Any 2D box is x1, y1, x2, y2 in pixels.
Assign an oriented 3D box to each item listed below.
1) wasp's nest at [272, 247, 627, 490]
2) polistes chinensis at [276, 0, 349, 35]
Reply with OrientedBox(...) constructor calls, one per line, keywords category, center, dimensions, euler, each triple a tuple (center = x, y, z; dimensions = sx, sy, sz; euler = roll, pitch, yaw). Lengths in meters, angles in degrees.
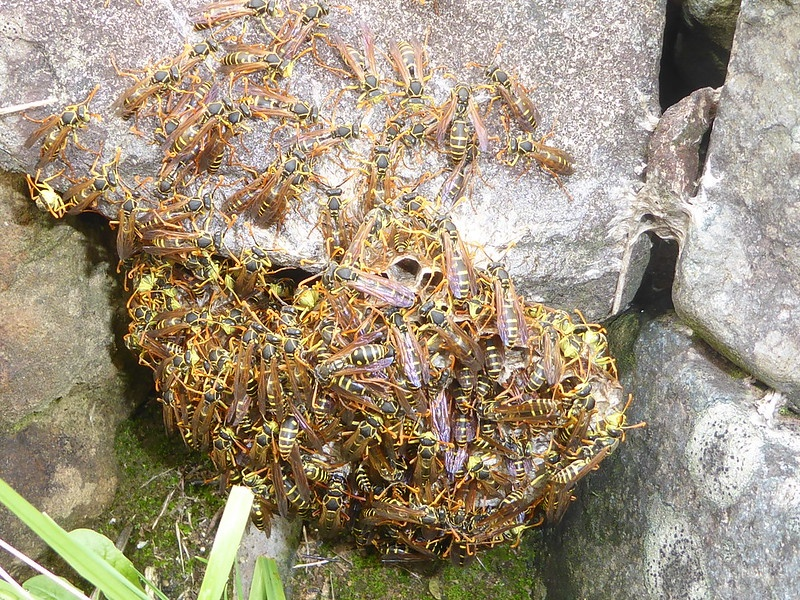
OrientedBox(category="wasp's nest", center=(0.204, 0.389, 4.612), dimensions=(1.876, 1.001, 0.656), euler=(10, 39, -8))
OrientedBox(category="polistes chinensis", center=(-0.462, -1.447, 4.504), dimensions=(0.213, 0.064, 0.181), euler=(-30, 89, -18))
